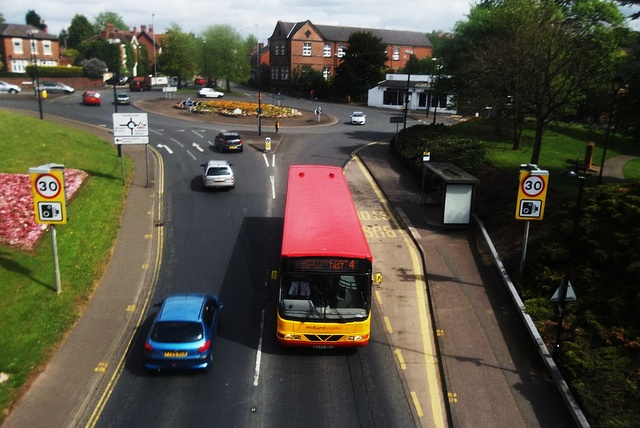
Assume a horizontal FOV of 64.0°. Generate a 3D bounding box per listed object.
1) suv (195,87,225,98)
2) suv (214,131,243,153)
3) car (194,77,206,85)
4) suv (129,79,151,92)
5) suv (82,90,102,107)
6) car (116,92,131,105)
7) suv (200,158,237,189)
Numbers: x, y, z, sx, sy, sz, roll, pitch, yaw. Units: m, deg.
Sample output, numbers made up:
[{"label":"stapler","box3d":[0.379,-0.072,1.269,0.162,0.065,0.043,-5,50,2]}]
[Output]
[{"label":"suv","box3d":[-17.773,-19.641,83.491,3.468,1.383,1.839,-9,25,-21]},{"label":"suv","box3d":[-8.826,-7.003,49.469,1.547,1.410,2.829,-2,26,-15]},{"label":"car","box3d":[-25.138,-27.798,107.439,1.604,1.593,3.308,-7,18,-31]},{"label":"suv","box3d":[-30.455,-22.169,87.535,1.821,1.753,3.336,5,29,-3]},{"label":"suv","box3d":[-30.274,-15.275,68.081,1.657,1.459,2.938,-4,31,-25]},{"label":"car","box3d":[-26.586,-15.486,69.407,1.211,1.312,2.171,1,15,-6]},{"label":"suv","box3d":[-7.731,-3.044,39.485,1.554,1.246,2.503,-1,29,-12]}]
